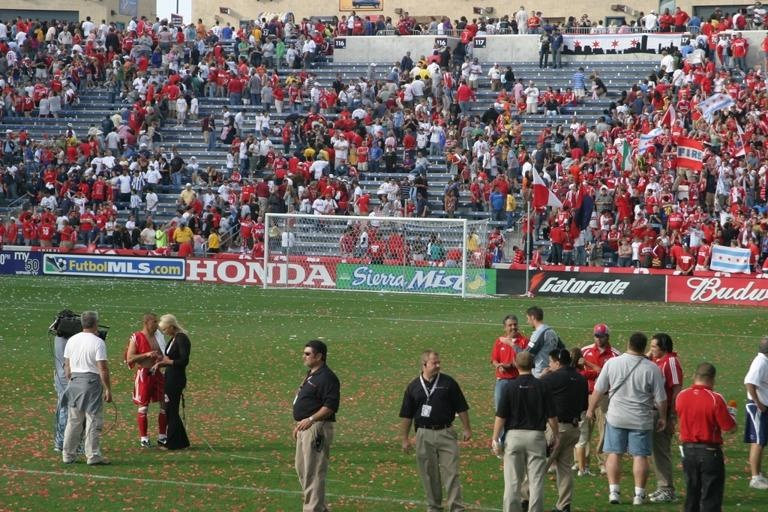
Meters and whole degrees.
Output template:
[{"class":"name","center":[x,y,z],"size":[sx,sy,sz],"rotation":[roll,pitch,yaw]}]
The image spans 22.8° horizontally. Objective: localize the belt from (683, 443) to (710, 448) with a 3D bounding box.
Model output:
[{"class":"belt","center":[10.722,6.565,65.577],"size":[0.966,0.166,0.066],"rotation":[1,2,8]}]

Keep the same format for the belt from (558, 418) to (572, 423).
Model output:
[{"class":"belt","center":[6.255,5.790,66.506],"size":[0.416,0.160,0.038],"rotation":[1,2,0]}]

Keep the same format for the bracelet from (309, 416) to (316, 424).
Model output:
[{"class":"bracelet","center":[-2.505,5.741,65.750],"size":[0.214,0.214,0.144],"rotation":[-24,55,-23]}]
